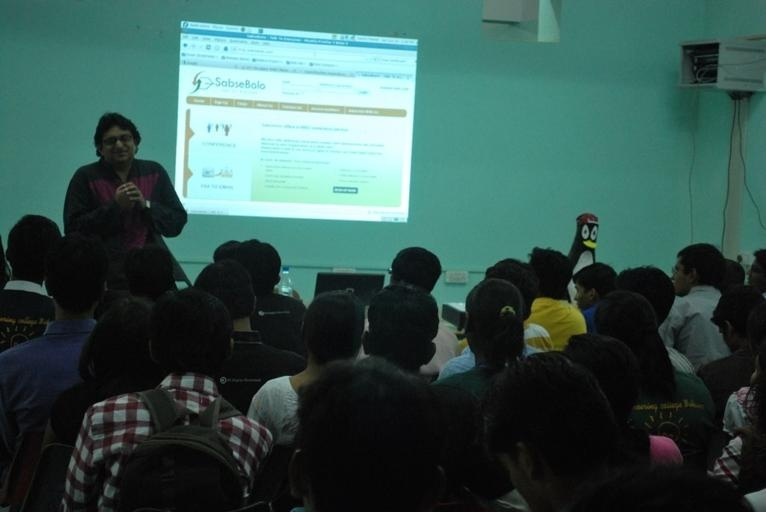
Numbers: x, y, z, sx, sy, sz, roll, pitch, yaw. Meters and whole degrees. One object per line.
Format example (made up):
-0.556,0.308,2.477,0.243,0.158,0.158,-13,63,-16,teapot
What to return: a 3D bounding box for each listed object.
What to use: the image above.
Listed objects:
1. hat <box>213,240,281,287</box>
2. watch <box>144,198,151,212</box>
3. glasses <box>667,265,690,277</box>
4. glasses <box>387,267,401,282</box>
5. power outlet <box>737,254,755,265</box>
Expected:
-0.699,0.023,3.831,0.382,0.207,0.254,10,6,-42,hat
-1.423,-0.307,4.265,0.059,0.058,0.060,0,-9,-8,watch
2.123,0.113,5.049,0.136,0.045,0.136,10,-5,0,glasses
0.068,0.114,3.883,0.085,0.095,0.095,1,2,3,glasses
3.087,0.038,5.995,0.193,0.101,0.092,-1,-3,-14,power outlet
